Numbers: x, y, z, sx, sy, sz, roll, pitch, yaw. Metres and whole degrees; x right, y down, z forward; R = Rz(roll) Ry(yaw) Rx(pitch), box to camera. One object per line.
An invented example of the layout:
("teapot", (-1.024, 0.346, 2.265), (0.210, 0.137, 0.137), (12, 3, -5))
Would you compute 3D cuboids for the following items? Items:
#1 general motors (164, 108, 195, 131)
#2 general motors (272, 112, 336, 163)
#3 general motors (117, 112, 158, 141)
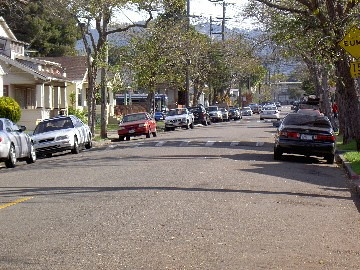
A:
("general motors", (-0.087, -1.673, 42.973), (2.954, 2.258, 1.981), (-4, 4, -5))
("general motors", (5.432, 0.054, 17.302), (1.451, 1.277, 3.127), (1, 7, 7))
("general motors", (-3.483, -0.656, 32.541), (3.009, 2.179, 2.302), (-5, 5, -11))
